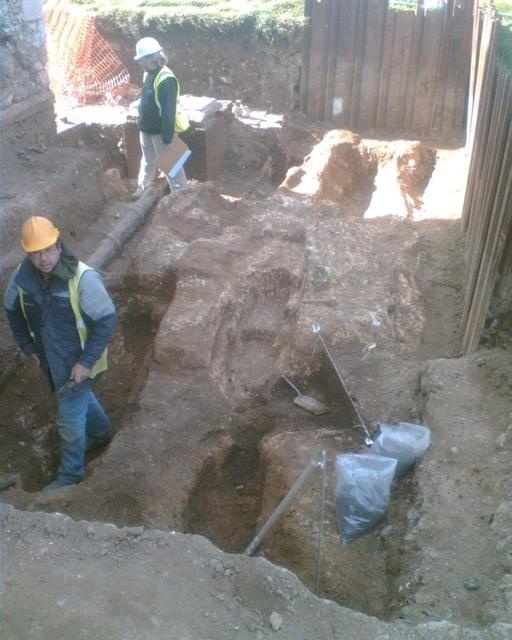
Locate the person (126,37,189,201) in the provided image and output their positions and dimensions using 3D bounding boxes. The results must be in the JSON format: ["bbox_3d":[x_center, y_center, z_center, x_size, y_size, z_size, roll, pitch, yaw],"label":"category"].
[{"bbox_3d":[-0.957,-1.915,6.869,0.605,1.637,0.915,-5,32,-9],"label":"person"}]

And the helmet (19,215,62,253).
[{"bbox_3d":[-1.193,-0.485,3.864,0.190,0.173,0.248,-11,34,-20],"label":"helmet"}]

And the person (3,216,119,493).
[{"bbox_3d":[-1.106,0.178,4.122,0.579,1.568,0.574,-12,34,-20],"label":"person"}]

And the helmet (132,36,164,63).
[{"bbox_3d":[-0.999,-2.520,6.484,0.225,0.206,0.404,-5,32,-9],"label":"helmet"}]
